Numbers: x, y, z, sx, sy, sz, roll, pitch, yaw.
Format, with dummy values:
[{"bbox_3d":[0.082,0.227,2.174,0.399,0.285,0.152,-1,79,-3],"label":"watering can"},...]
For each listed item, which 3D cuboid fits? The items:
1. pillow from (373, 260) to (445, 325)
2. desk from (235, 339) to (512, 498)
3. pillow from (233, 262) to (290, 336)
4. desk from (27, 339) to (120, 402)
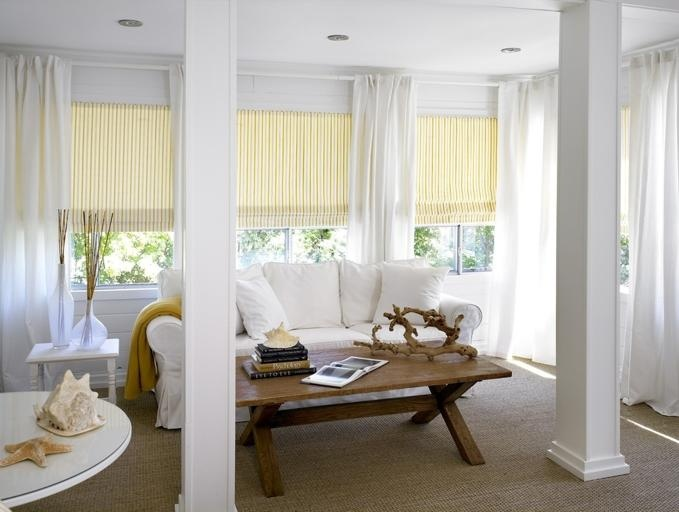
[{"bbox_3d":[0.573,0.321,4.547,0.453,0.460,0.171,4,-24,11],"label":"pillow"},{"bbox_3d":[0.153,1.001,3.510,1.650,0.633,0.748,-2,11,-15],"label":"desk"},{"bbox_3d":[-0.658,0.372,4.400,0.509,0.475,0.467,10,14,41],"label":"pillow"},{"bbox_3d":[-1.955,0.710,3.969,0.615,0.472,0.590,0,0,-24],"label":"desk"}]
